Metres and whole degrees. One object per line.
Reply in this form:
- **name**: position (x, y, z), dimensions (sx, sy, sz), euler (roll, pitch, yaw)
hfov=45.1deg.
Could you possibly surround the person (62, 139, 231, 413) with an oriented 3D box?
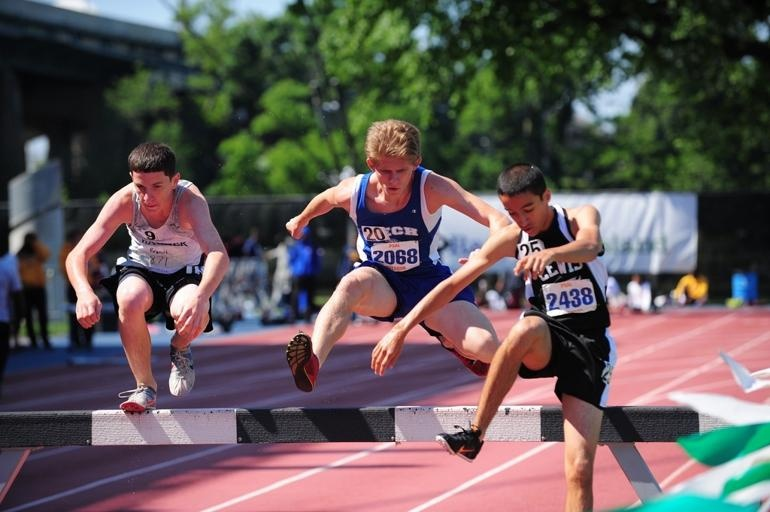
- **person**: position (-1.966, 0.179, 7.806), dimensions (1.262, 2.269, 0.922), euler (-2, 3, -10)

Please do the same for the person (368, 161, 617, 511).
- **person**: position (1.043, 0.624, 7.312), dimensions (1.487, 2.689, 0.832), euler (-1, 3, 14)

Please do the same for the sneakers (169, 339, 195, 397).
- **sneakers**: position (-1.717, 0.957, 7.887), dimensions (0.183, 0.495, 0.199), euler (-1, 2, -6)

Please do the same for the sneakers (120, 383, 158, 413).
- **sneakers**: position (-1.987, 1.191, 7.597), dimensions (0.201, 0.159, 0.353), euler (-29, -31, 31)

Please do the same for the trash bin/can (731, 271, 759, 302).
- **trash bin/can**: position (7.451, 0.643, 19.425), dimensions (0.587, 0.650, 0.590), euler (4, 6, 33)

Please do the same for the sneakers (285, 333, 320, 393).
- **sneakers**: position (-0.644, 0.846, 7.352), dimensions (0.255, 0.441, 0.188), euler (-3, 7, 30)

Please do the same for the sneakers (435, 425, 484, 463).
- **sneakers**: position (0.571, 1.442, 7.145), dimensions (0.353, 0.281, 0.172), euler (-2, 3, 3)
